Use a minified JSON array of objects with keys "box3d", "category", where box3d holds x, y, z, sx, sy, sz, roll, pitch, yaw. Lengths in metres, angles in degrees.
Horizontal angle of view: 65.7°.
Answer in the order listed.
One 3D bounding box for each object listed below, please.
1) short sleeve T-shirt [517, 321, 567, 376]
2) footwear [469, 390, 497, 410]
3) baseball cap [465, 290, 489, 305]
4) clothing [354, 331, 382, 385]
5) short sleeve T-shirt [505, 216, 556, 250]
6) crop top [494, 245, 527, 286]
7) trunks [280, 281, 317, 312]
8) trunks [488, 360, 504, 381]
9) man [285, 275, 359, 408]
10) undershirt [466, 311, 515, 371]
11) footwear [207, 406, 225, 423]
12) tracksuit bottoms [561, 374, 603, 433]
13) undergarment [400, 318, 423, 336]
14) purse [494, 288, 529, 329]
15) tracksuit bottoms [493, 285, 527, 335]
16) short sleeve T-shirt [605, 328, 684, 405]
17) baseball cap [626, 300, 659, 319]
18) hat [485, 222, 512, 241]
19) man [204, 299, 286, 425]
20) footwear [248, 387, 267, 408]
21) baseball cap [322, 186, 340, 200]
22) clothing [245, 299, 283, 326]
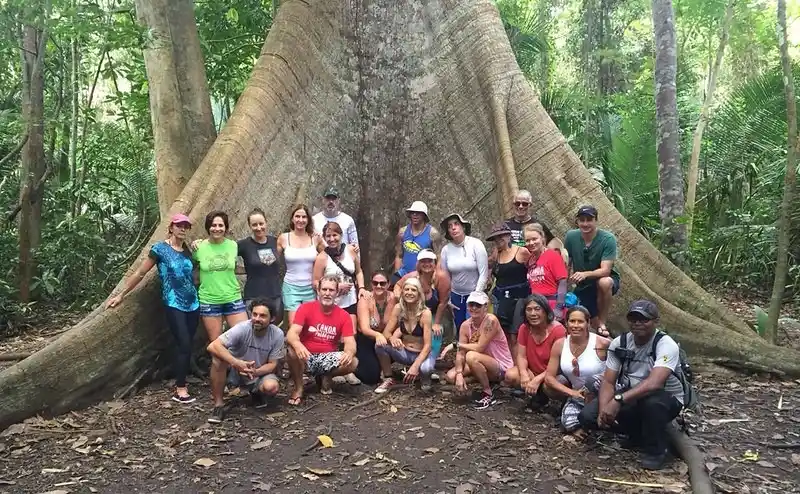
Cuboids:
[{"box3d":[1.989,1.443,8.659,0.785,0.737,0.436,1,3,38],"category":"short sleeve T-shirt"},{"box3d":[1.178,2.203,8.819,0.418,0.185,0.162,1,-5,-44],"category":"footwear"},{"box3d":[1.130,0.742,9.048,0.253,0.190,0.274,1,5,16],"category":"baseball cap"},{"box3d":[-0.528,1.752,9.618,0.447,0.710,0.277,-9,4,-19],"category":"clothing"},{"box3d":[1.961,-0.208,9.527,0.561,0.425,0.163,1,2,6],"category":"short sleeve T-shirt"},{"box3d":[1.694,0.291,9.470,0.318,0.516,0.541,10,-14,-39],"category":"crop top"},{"box3d":[-1.592,0.765,9.647,0.652,0.454,0.406,3,-5,-7],"category":"trunks"},{"box3d":[1.394,1.792,8.927,0.198,0.318,0.091,-2,5,-12],"category":"trunks"},{"box3d":[-1.152,1.331,9.128,1.035,1.844,0.507,-2,5,-13],"category":"man"},{"box3d":[1.289,1.379,9.003,0.670,0.795,0.278,0,5,7],"category":"undershirt"},{"box3d":[-2.541,2.318,8.546,0.227,0.195,0.216,-2,5,-13],"category":"footwear"},{"box3d":[2.360,2.063,8.259,0.310,0.783,0.469,29,1,-23],"category":"tracksuit bottoms"},{"box3d":[0.201,1.149,9.494,0.400,0.354,0.216,-2,2,18],"category":"undergarment"},{"box3d":[1.659,0.930,9.218,0.434,0.570,0.319,-10,-30,27],"category":"purse"},{"box3d":[1.645,0.960,9.228,0.620,0.708,0.402,-3,-23,24],"category":"tracksuit bottoms"},{"box3d":[3.178,1.565,8.300,0.974,1.012,0.751,11,-4,22],"category":"short sleeve T-shirt"},{"box3d":[3.082,0.781,7.807,0.344,0.175,0.243,30,-17,-37],"category":"baseball cap"},{"box3d":[1.511,-0.243,9.514,0.282,0.150,0.293,-7,-12,10],"category":"hat"},{"box3d":[-2.257,1.534,8.796,1.141,1.553,1.049,5,3,-39],"category":"man"},{"box3d":[-2.008,2.168,8.799,0.142,0.149,0.362,-1,-5,-24],"category":"footwear"},{"box3d":[-1.120,-0.887,10.064,0.230,0.181,0.168,-2,5,-16],"category":"baseball cap"},{"box3d":[-1.970,0.928,8.851,0.373,0.497,0.266,8,36,-21],"category":"clothing"}]
